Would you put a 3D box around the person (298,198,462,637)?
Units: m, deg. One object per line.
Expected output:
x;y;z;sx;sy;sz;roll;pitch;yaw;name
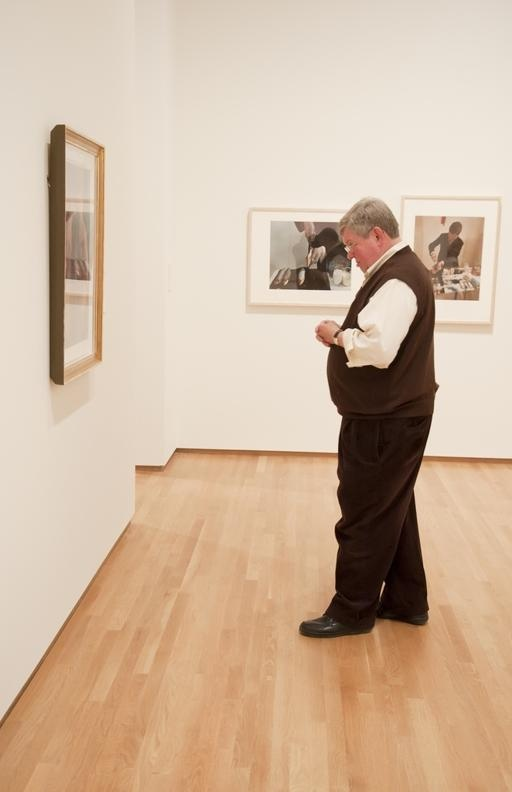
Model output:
0.503;0.128;2.067;0.561;1.723;0.490;1;-1;-32;person

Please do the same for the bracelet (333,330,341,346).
0.304;-0.216;1.973;0.042;0.061;0.030;-5;14;-44;bracelet

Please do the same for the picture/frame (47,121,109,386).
-0.691;-0.563;2.057;0.139;1.001;0.829;1;-1;-13;picture/frame

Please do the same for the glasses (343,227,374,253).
0.369;-0.594;1.996;0.079;0.056;0.172;2;-1;-14;glasses
